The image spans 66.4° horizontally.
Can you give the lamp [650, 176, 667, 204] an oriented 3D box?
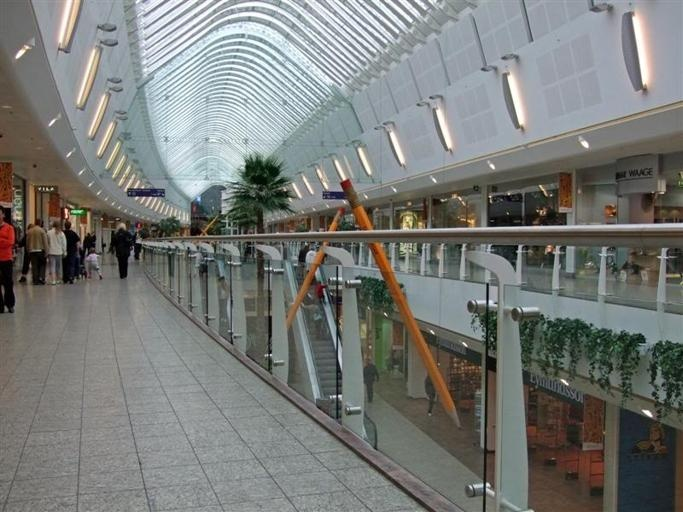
[{"bbox_3d":[9.876,-2.028,16.149,0.404,0.637,0.551,1,1,30],"label":"lamp"}]
